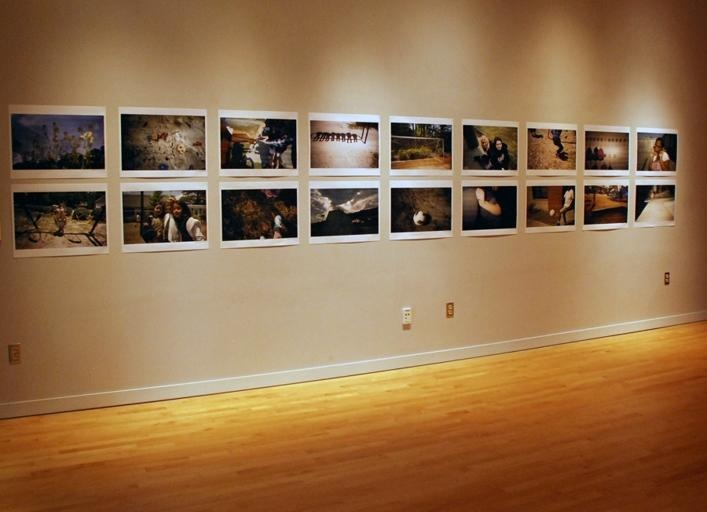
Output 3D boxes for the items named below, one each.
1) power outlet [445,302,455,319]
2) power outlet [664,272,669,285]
[{"bbox_3d":[1.020,0.570,5.547,0.170,0.250,0.024,0,1,-31],"label":"power outlet"},{"bbox_3d":[4.025,0.287,6.705,0.092,0.147,0.042,0,0,-20],"label":"power outlet"}]
